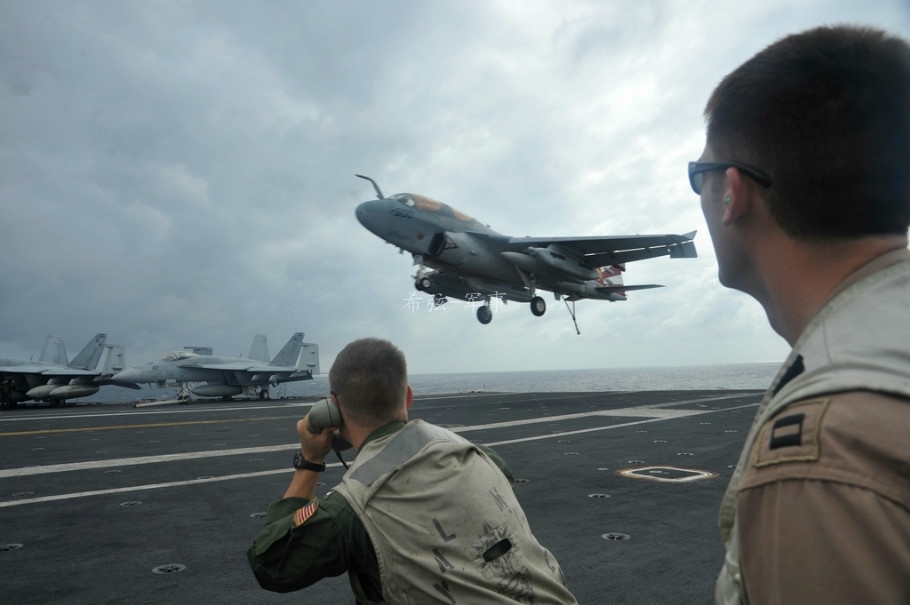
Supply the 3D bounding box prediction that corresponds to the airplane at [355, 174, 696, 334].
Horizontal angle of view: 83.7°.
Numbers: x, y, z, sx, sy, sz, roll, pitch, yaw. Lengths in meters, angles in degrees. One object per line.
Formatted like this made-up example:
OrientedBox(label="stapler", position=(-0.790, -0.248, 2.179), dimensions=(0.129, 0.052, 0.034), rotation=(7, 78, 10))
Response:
OrientedBox(label="airplane", position=(2.277, -1.831, 23.300), dimensions=(9.739, 3.088, 9.602), rotation=(20, -12, -25))
